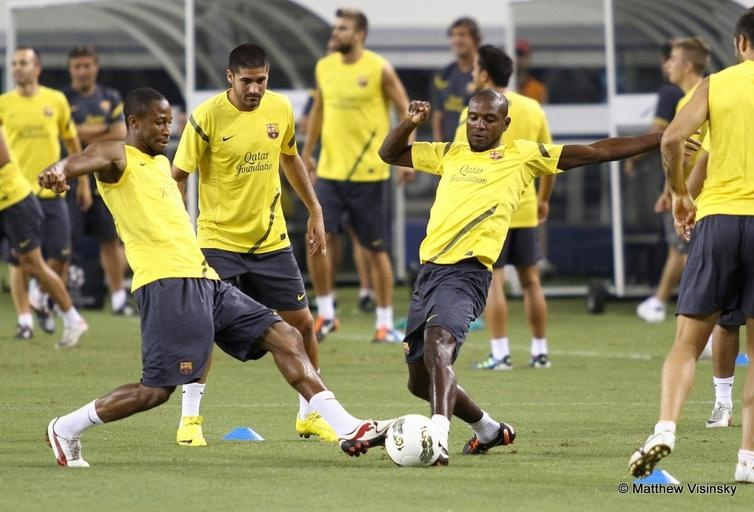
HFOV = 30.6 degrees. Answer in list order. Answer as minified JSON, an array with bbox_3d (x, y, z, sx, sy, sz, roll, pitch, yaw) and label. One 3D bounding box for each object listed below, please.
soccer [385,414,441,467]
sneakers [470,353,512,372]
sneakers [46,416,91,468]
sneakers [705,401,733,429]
[{"bbox_3d":[0.269,1.198,9.049,0.337,0.357,0.335,-2,-3,17],"label":"soccer"},{"bbox_3d":[1.027,0.947,12.192,0.376,0.165,0.125,1,-1,6],"label":"sneakers"},{"bbox_3d":[-2.047,1.230,9.089,0.274,0.317,0.181,-1,3,-14],"label":"sneakers"},{"bbox_3d":[2.516,1.174,10.052,0.102,0.133,0.308,-3,-6,25],"label":"sneakers"}]
